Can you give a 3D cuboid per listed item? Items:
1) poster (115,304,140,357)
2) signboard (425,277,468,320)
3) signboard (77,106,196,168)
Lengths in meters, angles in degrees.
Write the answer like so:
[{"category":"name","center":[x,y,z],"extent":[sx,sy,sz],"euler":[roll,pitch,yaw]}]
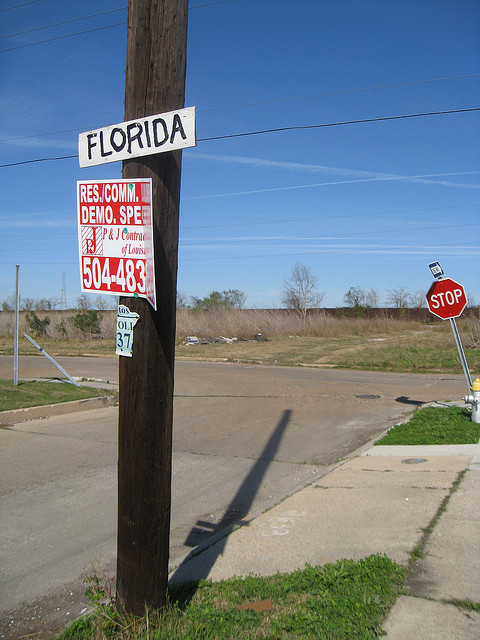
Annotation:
[{"category":"poster","center":[-0.591,0.055,2.672],"extent":[0.114,0.294,0.010],"euler":[10,-28,-24]},{"category":"signboard","center":[3.648,-0.333,9.028],"extent":[0.641,0.116,0.968],"euler":[-15,41,20]},{"category":"signboard","center":[-0.563,-0.940,2.666],"extent":[0.783,0.207,0.056],"euler":[-1,-1,28]}]
